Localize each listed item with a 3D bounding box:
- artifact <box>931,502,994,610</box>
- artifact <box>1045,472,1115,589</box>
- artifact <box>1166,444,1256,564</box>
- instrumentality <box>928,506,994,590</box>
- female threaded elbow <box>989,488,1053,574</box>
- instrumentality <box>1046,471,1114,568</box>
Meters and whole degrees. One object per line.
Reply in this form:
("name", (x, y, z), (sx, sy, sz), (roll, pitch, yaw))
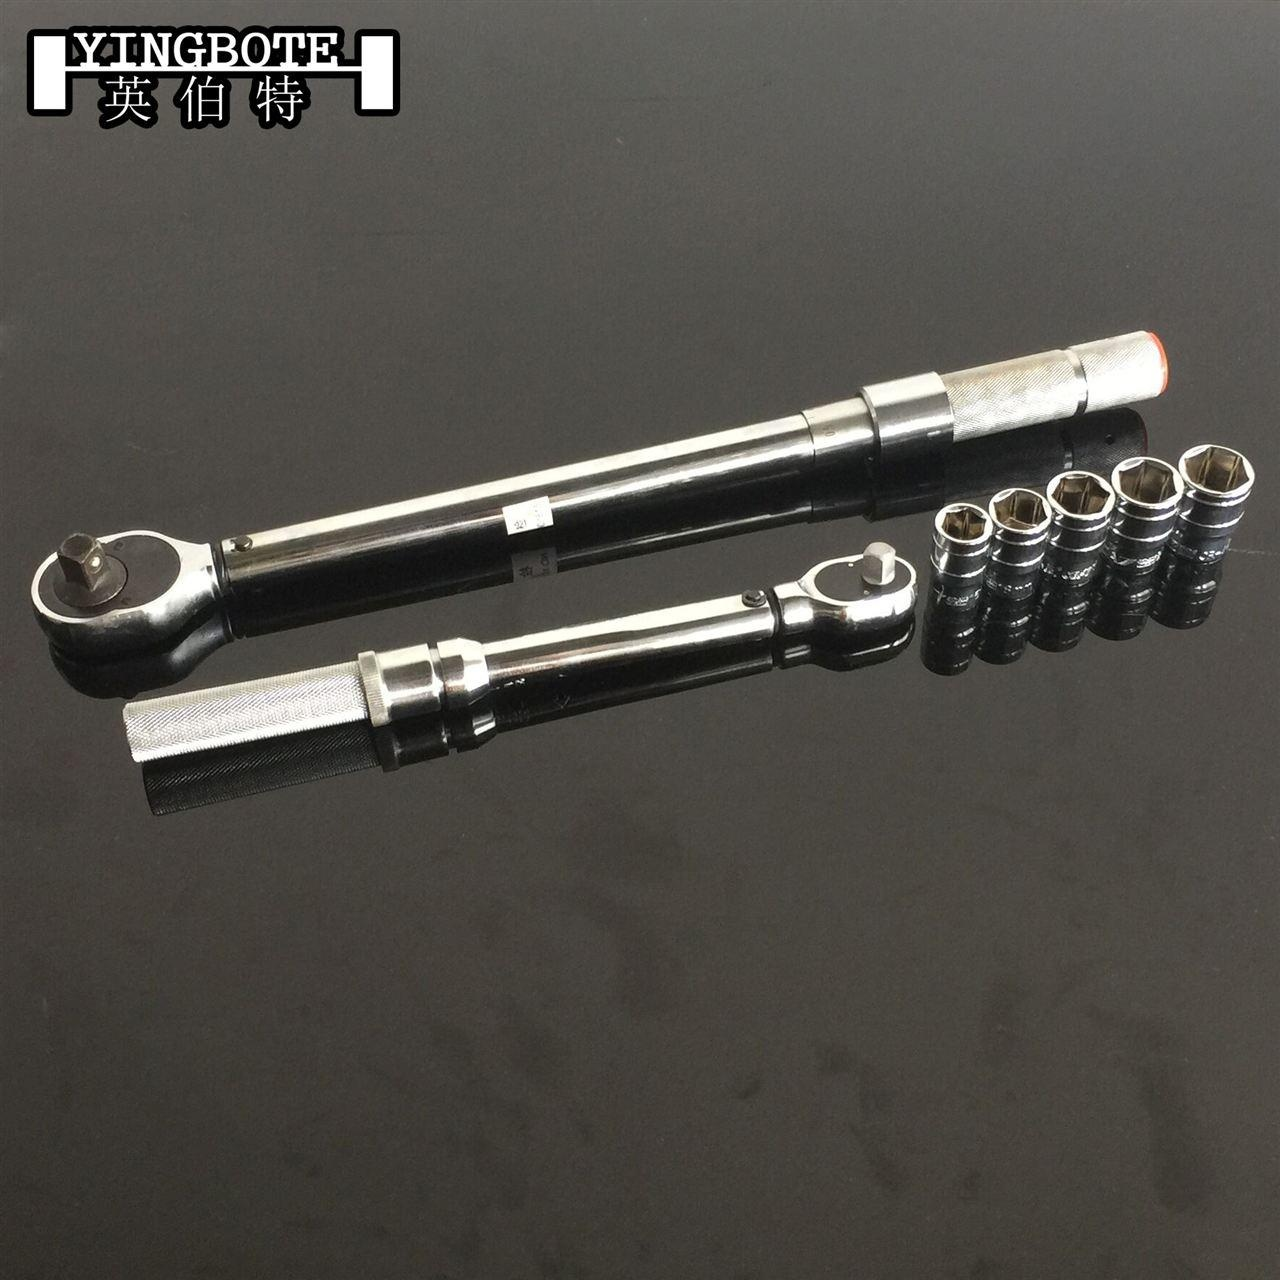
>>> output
("artifact", (0.497, -0.122, 3.600), (0.084, 0.155, 0.097), (11, 41, 12))
("artifact", (0.679, -0.163, 3.570), (0.093, 0.161, 0.116), (-6, 43, 4))
("artifact", (0.907, -0.189, 3.659), (0.081, 0.113, 0.092), (12, 16, 19))
("instrumentality", (0.494, -0.140, 3.580), (0.077, 0.097, 0.092), (3, 41, 0))
("female threaded elbow", (0.588, -0.188, 3.588), (0.070, 0.076, 0.066), (-19, 29, -39))
("instrumentality", (0.688, -0.184, 3.579), (0.096, 0.111, 0.104), (-17, 45, -10))
